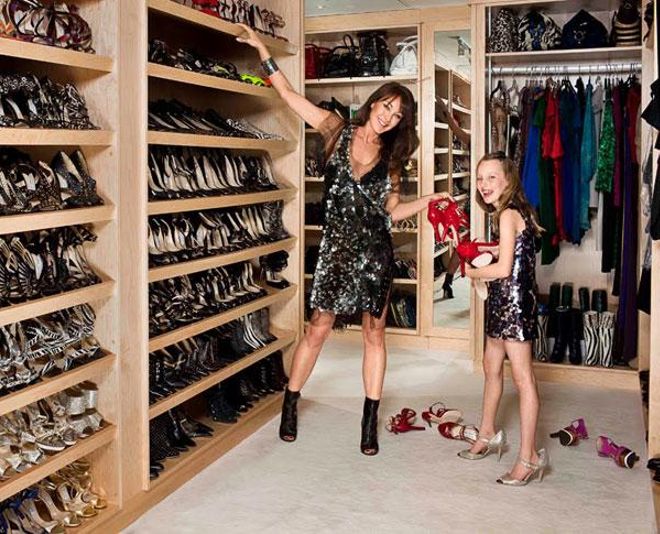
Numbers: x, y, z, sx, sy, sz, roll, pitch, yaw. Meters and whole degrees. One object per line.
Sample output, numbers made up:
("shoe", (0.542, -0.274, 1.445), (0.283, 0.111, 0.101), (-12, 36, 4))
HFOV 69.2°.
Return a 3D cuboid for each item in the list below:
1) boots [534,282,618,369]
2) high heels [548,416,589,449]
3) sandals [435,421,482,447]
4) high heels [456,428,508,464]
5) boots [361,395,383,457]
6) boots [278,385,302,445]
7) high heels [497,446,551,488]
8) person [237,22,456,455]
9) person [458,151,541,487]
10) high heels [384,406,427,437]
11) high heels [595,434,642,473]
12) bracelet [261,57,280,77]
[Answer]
("boots", (2.056, 0.479, 4.002), (0.584, 0.590, 0.475), (3, 7, 29))
("high heels", (1.466, 1.000, 2.933), (0.237, 0.094, 0.137), (-19, 8, -40))
("sandals", (0.782, 1.013, 2.931), (0.262, 0.090, 0.061), (5, -6, 29))
("high heels", (0.838, 0.995, 2.756), (0.343, 0.200, 0.144), (1, 2, 18))
("boots", (0.239, 0.933, 2.859), (0.127, 0.269, 0.377), (4, 3, 2))
("boots", (-0.246, 0.906, 2.974), (0.122, 0.255, 0.362), (4, 6, -5))
("high heels", (1.007, 1.029, 2.484), (0.333, 0.185, 0.136), (0, 1, -6))
("person", (0.170, -0.043, 2.784), (0.947, 2.221, 0.339), (-1, 6, -12))
("person", (0.909, 0.258, 2.503), (0.382, 1.690, 0.434), (-3, 7, -32))
("high heels", (0.501, 1.008, 3.127), (0.202, 0.090, 0.131), (1, -2, -32))
("high heels", (1.582, 1.027, 2.634), (0.109, 0.056, 0.209), (-44, 25, -12))
("bracelet", (-0.340, -1.138, 2.739), (0.080, 0.117, 0.087), (-2, 6, -16))
